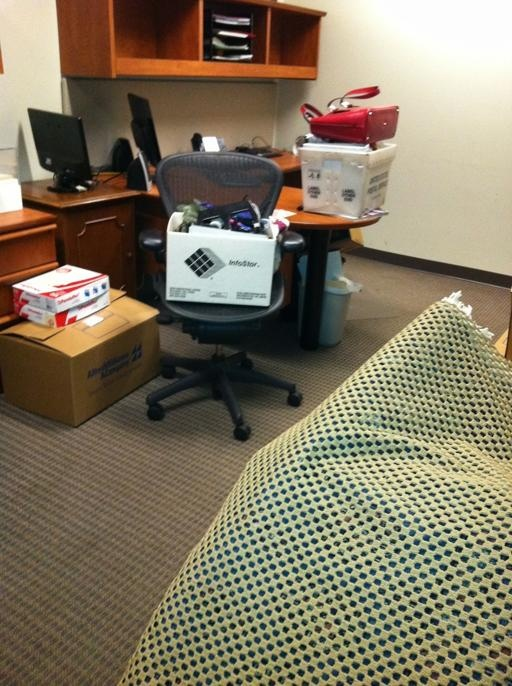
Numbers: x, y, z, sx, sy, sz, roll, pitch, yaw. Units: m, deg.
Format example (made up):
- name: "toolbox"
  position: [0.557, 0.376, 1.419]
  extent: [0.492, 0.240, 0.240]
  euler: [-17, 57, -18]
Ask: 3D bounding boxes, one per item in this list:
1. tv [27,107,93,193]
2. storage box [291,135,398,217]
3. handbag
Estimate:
- name: "tv"
  position: [-0.833, -0.837, 2.460]
  extent: [0.355, 0.328, 0.196]
  euler: [24, 34, 29]
- name: "storage box"
  position: [0.394, -0.749, 2.517]
  extent: [0.330, 0.301, 0.342]
  euler: [15, 32, 26]
- name: "handbag"
  position: [0.372, -1.024, 2.519]
  extent: [0.445, 0.222, 0.447]
  euler: [15, 31, 26]
